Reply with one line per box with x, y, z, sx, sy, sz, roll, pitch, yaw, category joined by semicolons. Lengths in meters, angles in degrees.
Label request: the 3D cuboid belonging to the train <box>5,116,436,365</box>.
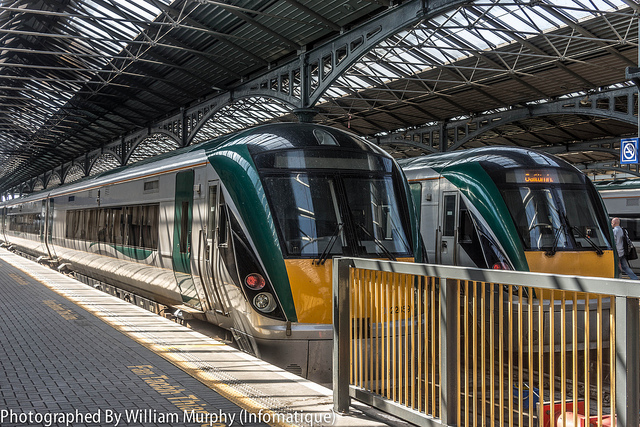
-3.969;0.595;13.379;3.787;3.162;18.205;-1;-2;-30;train

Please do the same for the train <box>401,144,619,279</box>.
3.443;-0.239;13.975;3.013;2.844;9.428;-1;7;-17;train
